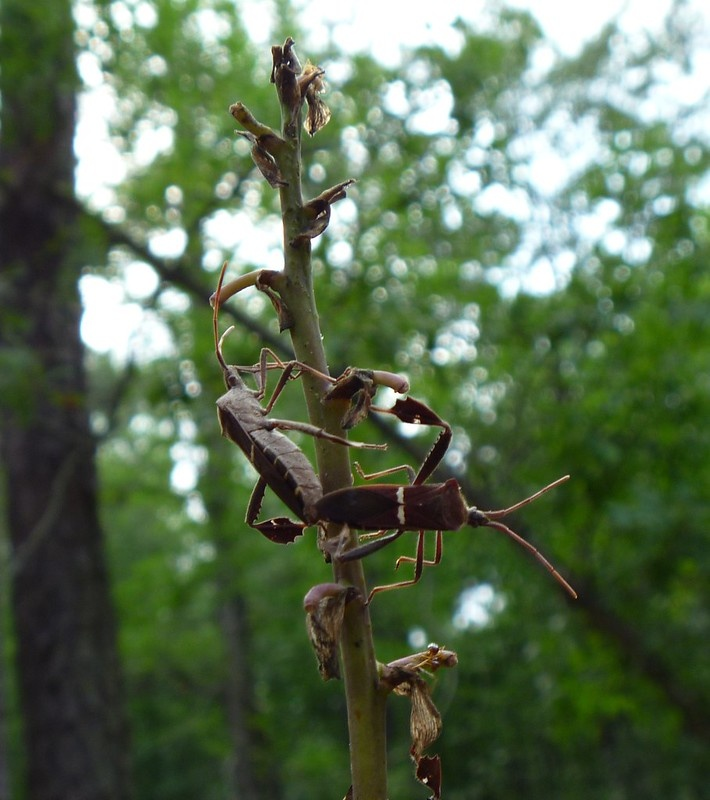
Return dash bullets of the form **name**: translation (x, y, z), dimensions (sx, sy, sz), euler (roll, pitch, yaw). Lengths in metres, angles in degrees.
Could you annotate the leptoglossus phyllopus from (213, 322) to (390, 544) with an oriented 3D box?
- **leptoglossus phyllopus**: translation (-0.032, 0.109, 5.644), dimensions (0.888, 0.811, 0.546), euler (0, -3, -39)
